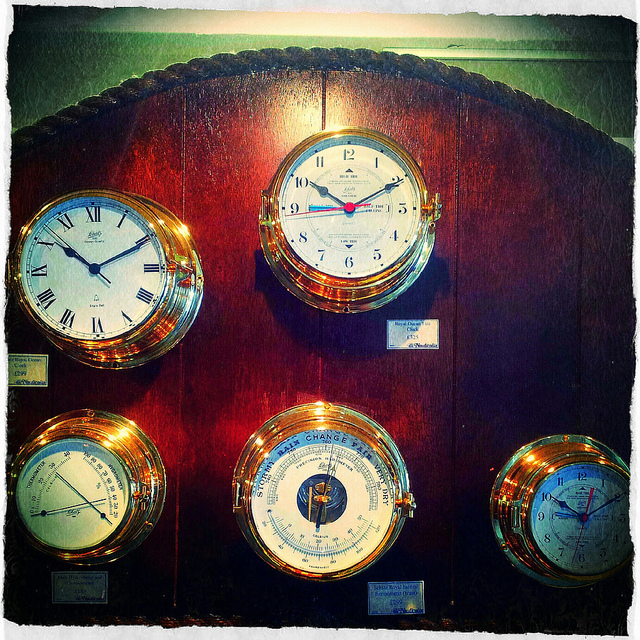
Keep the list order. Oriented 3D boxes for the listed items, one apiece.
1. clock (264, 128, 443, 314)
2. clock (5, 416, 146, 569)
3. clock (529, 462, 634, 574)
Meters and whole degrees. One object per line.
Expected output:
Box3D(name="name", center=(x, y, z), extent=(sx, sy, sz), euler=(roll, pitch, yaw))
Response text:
Box3D(name="clock", center=(0.087, -0.273, 3.534), extent=(0.489, 0.348, 0.335), euler=(-6, 54, -3))
Box3D(name="clock", center=(-0.672, 0.486, 3.514), extent=(0.377, 0.247, 0.329), euler=(-27, 59, -17))
Box3D(name="clock", center=(0.725, 0.551, 3.503), extent=(0.288, 0.151, 0.242), euler=(-6, 56, -4))
